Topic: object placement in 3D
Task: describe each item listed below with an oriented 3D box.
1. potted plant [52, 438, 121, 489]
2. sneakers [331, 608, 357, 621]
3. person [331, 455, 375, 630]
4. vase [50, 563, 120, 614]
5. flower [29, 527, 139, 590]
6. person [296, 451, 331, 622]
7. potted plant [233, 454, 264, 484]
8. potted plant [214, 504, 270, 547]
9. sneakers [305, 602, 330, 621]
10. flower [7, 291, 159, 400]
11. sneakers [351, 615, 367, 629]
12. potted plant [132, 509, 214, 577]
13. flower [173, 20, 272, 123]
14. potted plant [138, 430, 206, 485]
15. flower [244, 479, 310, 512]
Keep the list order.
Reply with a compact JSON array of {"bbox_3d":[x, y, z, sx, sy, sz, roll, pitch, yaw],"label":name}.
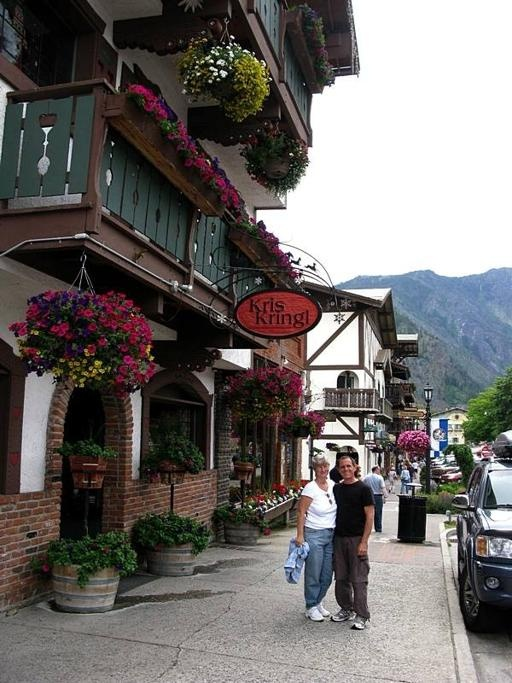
[{"bbox_3d":[-1.787,1.274,6.572,0.543,0.510,0.310,-2,-12,15],"label":"potted plant"},{"bbox_3d":[0.850,2.603,6.041,0.270,0.123,0.095,7,-20,-17],"label":"sneakers"},{"bbox_3d":[0.916,1.882,6.054,0.406,1.573,0.514,-1,-12,7],"label":"person"},{"bbox_3d":[-1.622,2.291,6.022,0.562,0.327,0.510,2,-18,2],"label":"vase"},{"bbox_3d":[-1.532,2.040,6.154,0.602,0.300,0.599,-3,-9,23],"label":"flower"},{"bbox_3d":[0.580,1.887,6.119,0.389,1.553,0.615,0,-12,6],"label":"person"},{"bbox_3d":[-0.359,2.734,13.696,0.803,0.563,0.806,-5,-13,32],"label":"potted plant"},{"bbox_3d":[-0.357,3.384,11.750,0.782,0.519,0.780,-7,-14,29],"label":"potted plant"},{"bbox_3d":[0.585,2.610,6.130,0.135,0.089,0.213,5,-15,-25],"label":"sneakers"},{"bbox_3d":[-1.254,-0.010,5.010,0.935,0.608,0.914,12,-10,21],"label":"flower"},{"bbox_3d":[0.962,2.586,5.846,0.127,0.104,0.310,-2,-12,13],"label":"sneakers"},{"bbox_3d":[-1.158,2.558,8.181,0.792,0.606,0.859,-13,-19,40],"label":"potted plant"},{"bbox_3d":[-0.301,-3.326,8.199,1.127,1.129,0.713,18,-46,10],"label":"flower"},{"bbox_3d":[-1.139,1.589,8.721,0.703,0.632,0.680,3,-10,-13],"label":"potted plant"},{"bbox_3d":[0.381,3.260,13.409,0.532,0.225,3.217,18,-6,19],"label":"flower"}]
